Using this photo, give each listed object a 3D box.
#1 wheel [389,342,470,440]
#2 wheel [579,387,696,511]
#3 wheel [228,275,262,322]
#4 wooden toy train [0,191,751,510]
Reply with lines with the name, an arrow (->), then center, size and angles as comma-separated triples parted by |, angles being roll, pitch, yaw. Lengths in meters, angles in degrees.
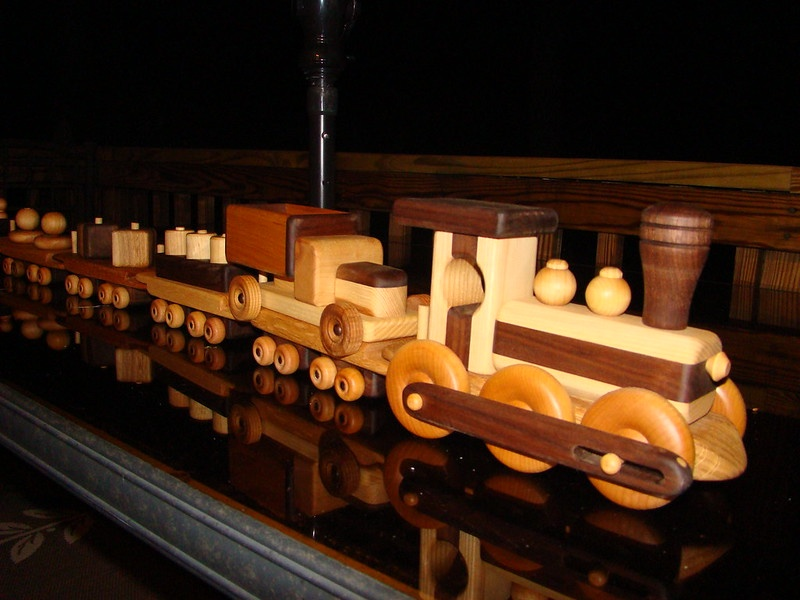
wheel -> 0.033, 0.131, 0.904 | 0.140, 0.136, 0.068 | 8, 15, 21
wheel -> 0.282, 0.185, 0.757 | 0.141, 0.136, 0.087 | 13, 17, 38
wheel -> -0.309, -0.002, 1.226 | 0.074, 0.081, 0.030 | -7, -6, 39
wooden toy train -> 0.005, -0.018, 1.062 | 1.075, 0.354, 0.371 | 13, 17, 36
